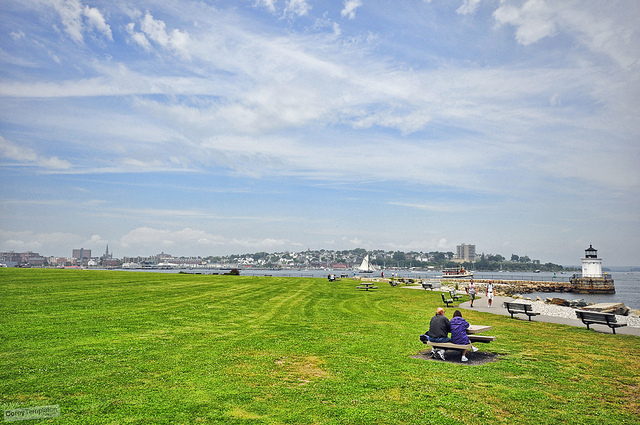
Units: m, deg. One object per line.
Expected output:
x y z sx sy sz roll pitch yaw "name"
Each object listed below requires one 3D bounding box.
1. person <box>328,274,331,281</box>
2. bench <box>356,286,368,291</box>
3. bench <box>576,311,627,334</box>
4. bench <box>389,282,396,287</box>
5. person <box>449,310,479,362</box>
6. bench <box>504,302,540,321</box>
1.420 10.433 68.916 0.465 0.761 0.570 0 1 -5 "person"
5.312 9.601 55.645 1.138 0.241 4.471 -1 -5 3 "bench"
16.904 6.697 26.411 2.066 1.203 1.384 -3 -6 30 "bench"
10.311 10.256 61.794 0.663 0.524 1.508 -2 -5 11 "bench"
6.687 5.788 20.417 1.224 2.325 0.731 4 -6 -41 "person"
13.898 6.903 30.207 0.946 1.100 2.072 3 -6 -33 "bench"
